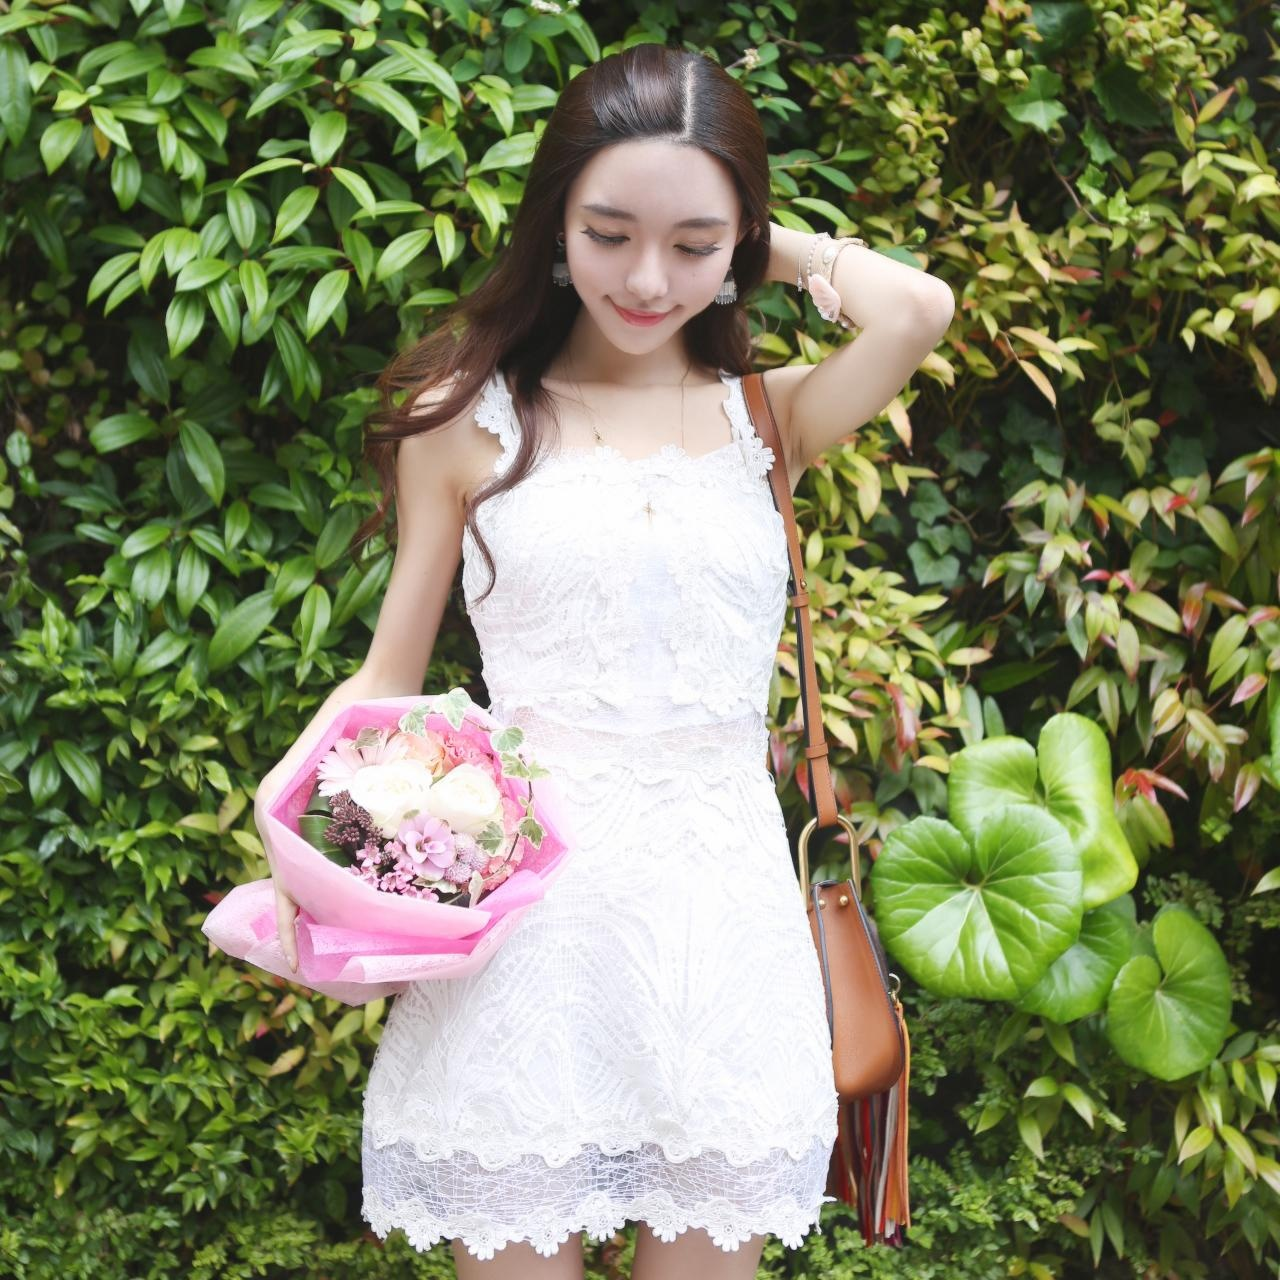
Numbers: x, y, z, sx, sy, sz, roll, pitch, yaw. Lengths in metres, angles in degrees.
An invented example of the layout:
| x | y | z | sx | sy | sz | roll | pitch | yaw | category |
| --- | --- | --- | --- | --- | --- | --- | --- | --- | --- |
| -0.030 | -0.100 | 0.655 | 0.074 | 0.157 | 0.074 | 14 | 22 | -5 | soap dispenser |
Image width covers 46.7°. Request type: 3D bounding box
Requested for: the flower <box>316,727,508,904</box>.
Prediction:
| x | y | z | sx | sy | sz | roll | pitch | yaw | category |
| --- | --- | --- | --- | --- | --- | --- | --- | --- | --- |
| -0.247 | 0.192 | 1.622 | 0.191 | 0.093 | 0.181 | 15 | 69 | -7 | flower |

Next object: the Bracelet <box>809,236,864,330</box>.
| x | y | z | sx | sy | sz | roll | pitch | yaw | category |
| --- | --- | --- | --- | --- | --- | --- | --- | --- | --- |
| 0.257 | -0.481 | 2.009 | 0.063 | 0.112 | 0.093 | -2 | 6 | 18 | Bracelet |

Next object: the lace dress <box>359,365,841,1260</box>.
| x | y | z | sx | sy | sz | roll | pitch | yaw | category |
| --- | --- | --- | --- | --- | --- | --- | --- | --- | --- |
| -0.012 | 0.255 | 1.865 | 0.585 | 0.827 | 0.688 | 6 | 31 | -8 | lace dress |

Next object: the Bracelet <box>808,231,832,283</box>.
| x | y | z | sx | sy | sz | roll | pitch | yaw | category |
| --- | --- | --- | --- | --- | --- | --- | --- | --- | --- |
| 0.244 | -0.521 | 2.007 | 0.018 | 0.058 | 0.046 | 13 | 14 | 16 | Bracelet |
